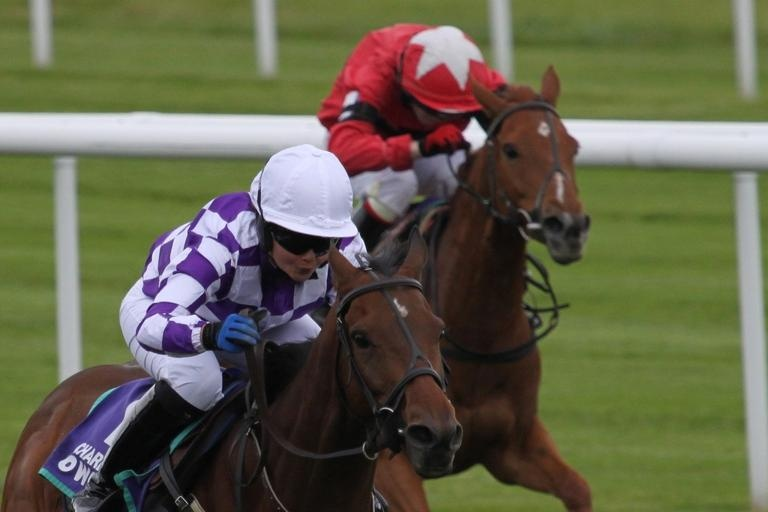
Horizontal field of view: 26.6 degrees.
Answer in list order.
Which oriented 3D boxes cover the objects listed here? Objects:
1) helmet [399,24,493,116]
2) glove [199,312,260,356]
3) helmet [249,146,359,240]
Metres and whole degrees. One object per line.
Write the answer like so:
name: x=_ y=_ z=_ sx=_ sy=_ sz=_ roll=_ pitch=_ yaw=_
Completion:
helmet: x=0.304 y=-0.941 z=7.839 sx=0.422 sy=0.210 sz=0.561 roll=-16 pitch=48 yaw=-30
glove: x=-0.680 y=0.331 z=6.982 sx=0.280 sy=0.138 sz=0.211 roll=19 pitch=33 yaw=41
helmet: x=-0.334 y=-0.262 z=7.012 sx=0.325 sy=0.224 sz=0.446 roll=-3 pitch=35 yaw=-31
